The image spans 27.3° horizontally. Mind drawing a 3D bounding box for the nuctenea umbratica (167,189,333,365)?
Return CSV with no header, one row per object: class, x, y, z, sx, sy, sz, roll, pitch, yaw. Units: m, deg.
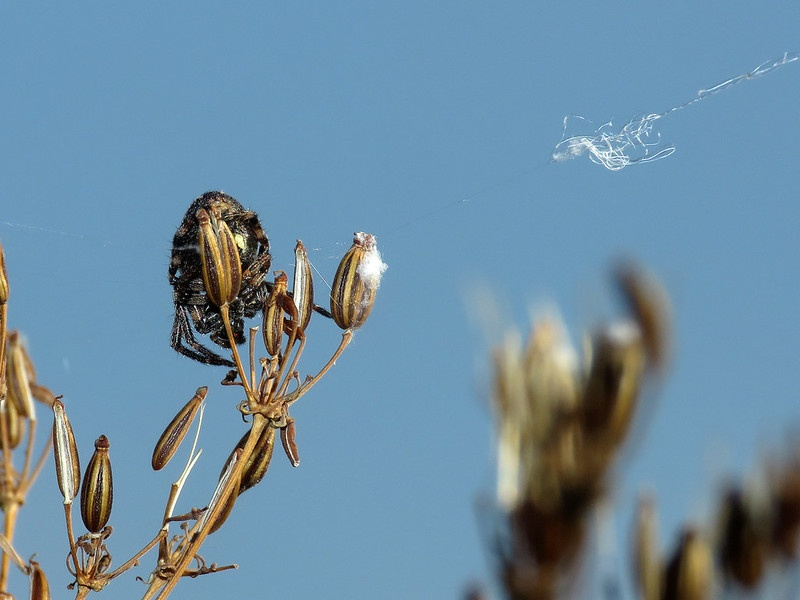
nuctenea umbratica,-0.450,-0.044,4.208,0.332,0.191,0.560,-22,-30,-5
